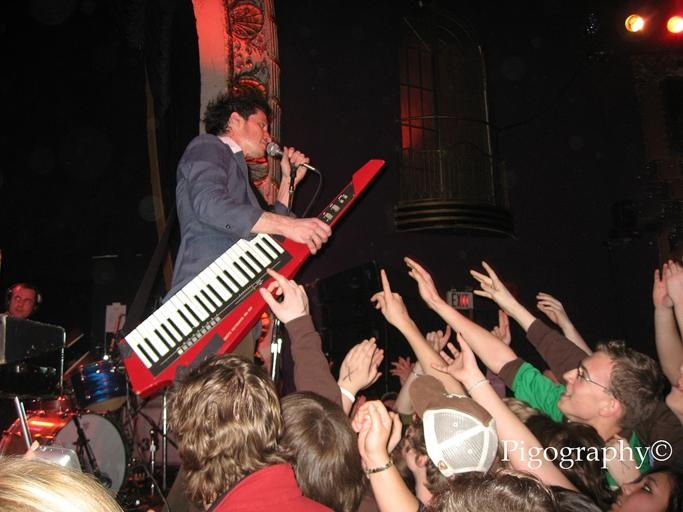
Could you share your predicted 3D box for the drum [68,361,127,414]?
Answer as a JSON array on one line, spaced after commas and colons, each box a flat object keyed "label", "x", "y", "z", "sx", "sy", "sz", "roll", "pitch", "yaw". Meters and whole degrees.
[{"label": "drum", "x": -2.039, "y": 1.152, "z": 5.426, "sx": 0.473, "sy": 0.396, "sz": 0.514, "roll": -14, "pitch": -18, "yaw": -5}]

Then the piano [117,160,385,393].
[{"label": "piano", "x": -0.667, "y": 0.129, "z": 4.610, "sx": 2.514, "sy": 0.610, "sz": 0.365, "roll": -42, "pitch": -10, "yaw": -21}]
